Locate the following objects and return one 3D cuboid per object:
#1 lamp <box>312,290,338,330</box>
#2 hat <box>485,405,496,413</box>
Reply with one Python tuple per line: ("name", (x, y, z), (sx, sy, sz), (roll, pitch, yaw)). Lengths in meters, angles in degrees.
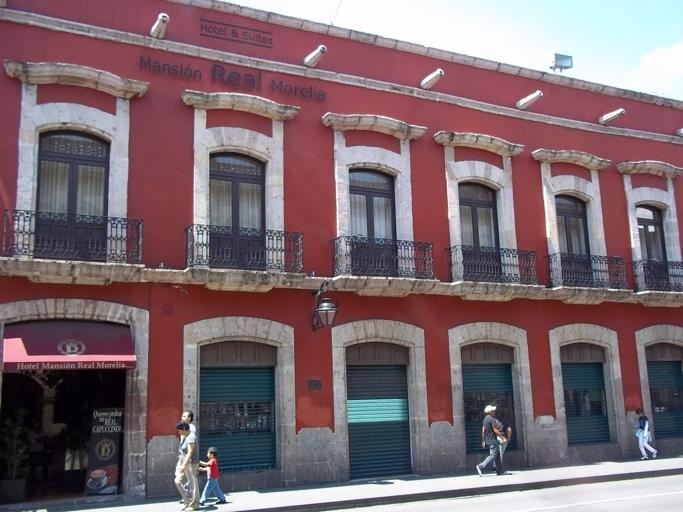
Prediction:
("lamp", (-0.513, 1.536, 18.464), (0.678, 1.354, 0.900), (9, -28, -21))
("hat", (4.405, 4.514, 19.369), (0.303, 0.181, 0.403), (-1, -9, 1))
